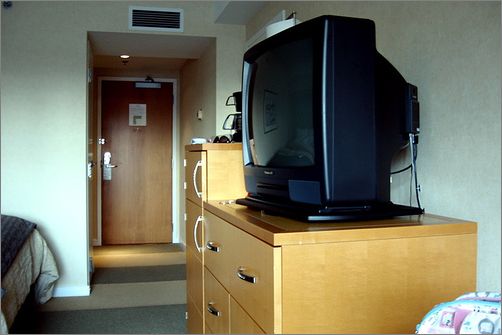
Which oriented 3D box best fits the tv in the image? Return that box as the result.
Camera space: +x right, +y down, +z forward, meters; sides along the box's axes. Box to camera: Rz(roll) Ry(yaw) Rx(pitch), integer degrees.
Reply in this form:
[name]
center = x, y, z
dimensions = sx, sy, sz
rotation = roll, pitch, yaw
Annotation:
[tv]
center = 0.387, -0.225, 2.114
dimensions = 0.727, 0.847, 0.847
rotation = -3, 4, -25
